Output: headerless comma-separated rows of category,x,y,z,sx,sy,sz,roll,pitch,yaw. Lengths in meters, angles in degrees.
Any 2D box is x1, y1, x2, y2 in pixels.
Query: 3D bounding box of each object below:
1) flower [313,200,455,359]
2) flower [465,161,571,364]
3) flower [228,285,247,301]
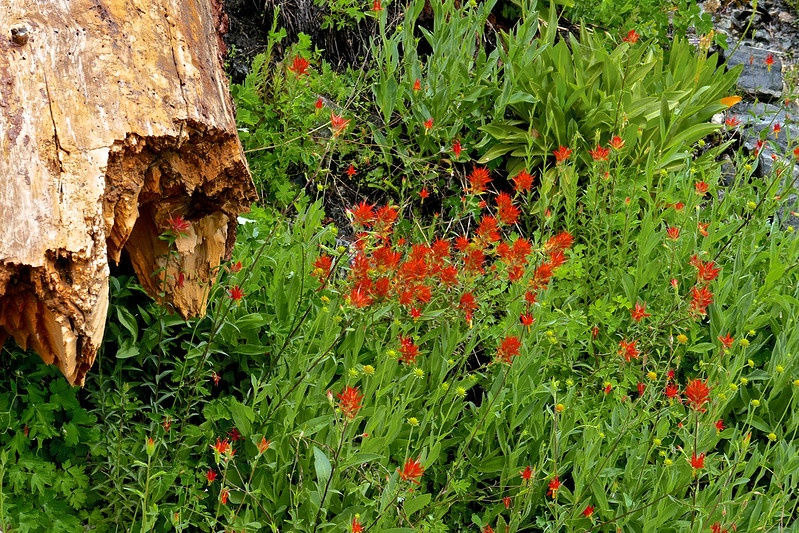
flower,-0.047,0.036,3.531,0.486,0.438,0.562,-7,54,-5
flower,0.465,-0.055,3.597,0.465,0.180,0.866,23,82,-18
flower,-0.655,0.122,3.354,0.034,0.073,0.065,4,17,-38
